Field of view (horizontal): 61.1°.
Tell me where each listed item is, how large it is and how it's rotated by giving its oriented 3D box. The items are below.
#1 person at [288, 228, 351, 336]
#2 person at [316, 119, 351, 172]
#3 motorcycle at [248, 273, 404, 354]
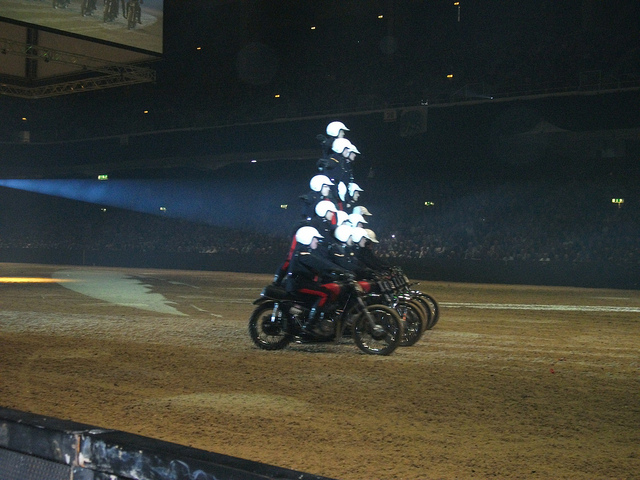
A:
[{"bbox_3d":[0.168,0.481,7.195,1.174,1.323,0.806,-3,11,13],"label":"person"},{"bbox_3d":[0.340,-1.705,9.307,0.403,0.732,0.915,6,-2,13],"label":"person"},{"bbox_3d":[0.049,0.947,7.147,2.352,0.934,0.906,-3,-14,32],"label":"motorcycle"}]
